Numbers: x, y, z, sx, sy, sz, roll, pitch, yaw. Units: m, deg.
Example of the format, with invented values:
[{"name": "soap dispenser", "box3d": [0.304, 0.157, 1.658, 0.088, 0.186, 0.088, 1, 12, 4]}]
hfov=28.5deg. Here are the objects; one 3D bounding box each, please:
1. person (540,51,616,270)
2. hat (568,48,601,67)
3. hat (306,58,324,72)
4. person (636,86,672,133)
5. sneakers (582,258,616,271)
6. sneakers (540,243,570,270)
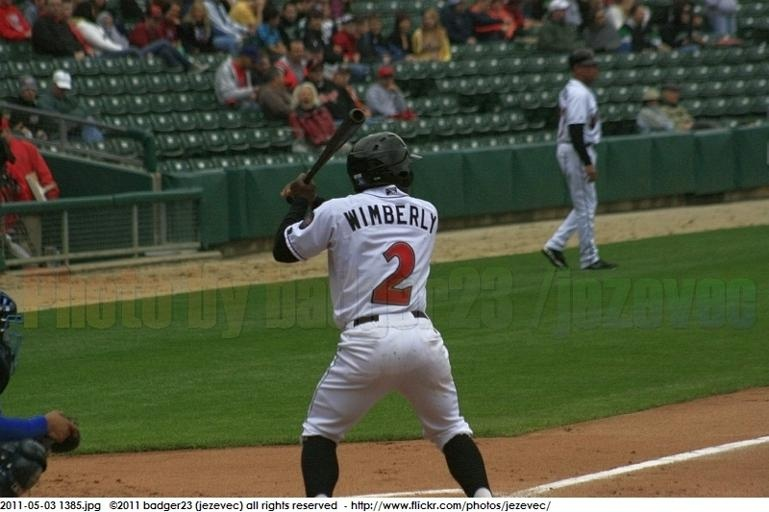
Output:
[{"name": "person", "box3d": [2.441, -1.220, 19.484, 0.797, 2.852, 0.880, -5, 6, 6]}, {"name": "hat", "box3d": [2.549, -2.525, 19.377, 0.313, 0.272, 0.247, -8, 23, 19]}, {"name": "hat", "box3d": [-1.057, -2.917, 23.039, 0.285, 0.238, 0.235, -6, 12, 4]}, {"name": "person", "box3d": [4.257, -2.272, 23.886, 0.576, 0.646, 0.780, -4, 6, 10]}, {"name": "sneakers", "box3d": [2.783, 0.108, 19.586, 0.473, 0.172, 0.162, -3, 4, 4]}, {"name": "sneakers", "box3d": [2.243, 0.024, 19.758, 0.220, 0.511, 0.164, -39, 38, 15]}]
